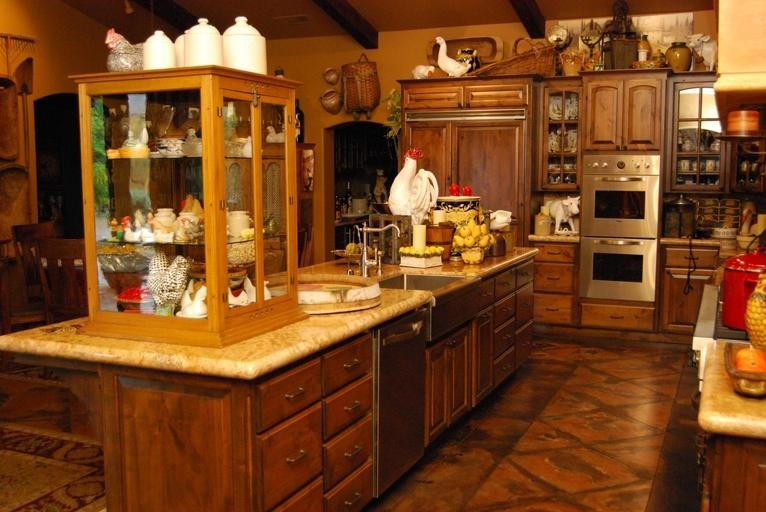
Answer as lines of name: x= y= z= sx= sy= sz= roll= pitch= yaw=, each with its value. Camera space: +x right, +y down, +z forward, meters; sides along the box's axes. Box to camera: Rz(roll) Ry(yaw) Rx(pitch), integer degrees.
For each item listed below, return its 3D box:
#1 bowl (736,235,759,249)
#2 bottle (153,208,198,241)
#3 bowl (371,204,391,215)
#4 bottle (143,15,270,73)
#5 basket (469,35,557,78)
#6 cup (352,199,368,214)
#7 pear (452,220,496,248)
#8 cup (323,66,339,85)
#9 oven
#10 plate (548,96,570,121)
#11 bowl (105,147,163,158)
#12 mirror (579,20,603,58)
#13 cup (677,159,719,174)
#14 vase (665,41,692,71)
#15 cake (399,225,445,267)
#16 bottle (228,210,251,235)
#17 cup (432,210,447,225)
bowl: x=3.883 y=-0.150 z=6.468 sx=0.151 sy=0.098 sz=0.141 roll=-1 pitch=2 yaw=0
bottle: x=-0.983 y=-0.138 z=2.783 sx=0.231 sy=0.128 sz=0.132 roll=1 pitch=5 yaw=9
bowl: x=-0.022 y=-0.405 z=5.140 sx=0.146 sy=0.046 sz=0.142 roll=1 pitch=8 yaw=0
bottle: x=-0.824 y=-0.966 z=2.833 sx=0.400 sy=0.198 sz=0.386 roll=1 pitch=8 yaw=0
basket: x=1.583 y=-2.264 z=7.207 sx=0.888 sy=0.322 sz=0.650 roll=0 pitch=13 yaw=8
cup: x=-0.383 y=-0.845 z=10.361 sx=0.247 sy=0.255 sz=0.279 roll=5 pitch=8 yaw=23
pear: x=0.738 y=-0.192 z=4.992 sx=0.241 sy=0.132 sz=0.276 roll=-4 pitch=8 yaw=5
cup: x=-0.727 y=-2.490 z=8.503 sx=0.248 sy=0.236 sz=0.162 roll=2 pitch=-30 yaw=6
oven: x=2.610 y=-0.211 z=7.417 sx=1.153 sy=1.534 sz=1.141 roll=2 pitch=-3 yaw=2
plate: x=2.077 y=-1.758 z=7.255 sx=0.267 sy=0.280 sz=0.277 roll=0 pitch=8 yaw=5
bowl: x=-1.182 y=-0.480 z=2.854 sx=0.255 sy=0.050 sz=0.042 roll=3 pitch=11 yaw=11
mirror: x=2.528 y=-2.626 z=7.347 sx=0.273 sy=0.484 sz=0.331 roll=4 pitch=12 yaw=16
cup: x=3.572 y=-1.005 z=6.897 sx=0.310 sy=0.112 sz=0.165 roll=2 pitch=5 yaw=20
vase: x=3.345 y=-2.231 z=6.872 sx=0.336 sy=0.385 sz=0.334 roll=3 pitch=11 yaw=25
cake: x=0.326 y=-0.076 z=4.806 sx=0.277 sy=0.300 sz=0.364 roll=1 pitch=6 yaw=22
bottle: x=-0.687 y=-0.152 z=2.859 sx=0.105 sy=0.105 sz=0.099 roll=5 pitch=9 yaw=31
cup: x=0.465 y=-0.326 z=5.163 sx=0.117 sy=0.125 sz=0.118 roll=1 pitch=5 yaw=0
